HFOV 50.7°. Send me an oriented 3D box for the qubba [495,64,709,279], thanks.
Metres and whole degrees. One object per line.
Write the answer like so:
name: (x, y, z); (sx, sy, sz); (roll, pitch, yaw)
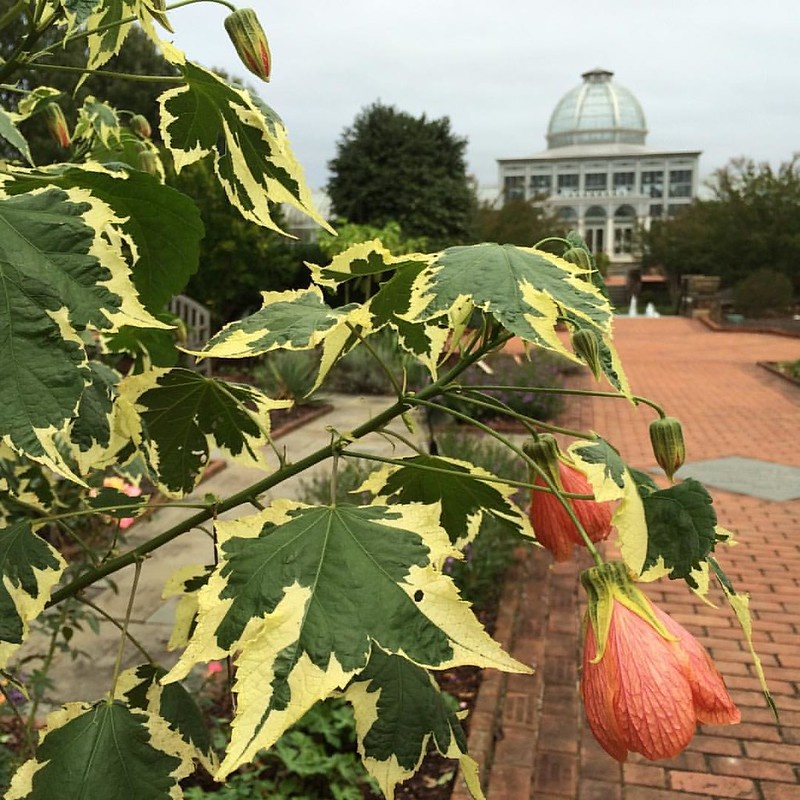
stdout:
qubba: (0.988, -1.076, 3.783); (1.074, 0.767, 0.835); (4, 28, 31)
